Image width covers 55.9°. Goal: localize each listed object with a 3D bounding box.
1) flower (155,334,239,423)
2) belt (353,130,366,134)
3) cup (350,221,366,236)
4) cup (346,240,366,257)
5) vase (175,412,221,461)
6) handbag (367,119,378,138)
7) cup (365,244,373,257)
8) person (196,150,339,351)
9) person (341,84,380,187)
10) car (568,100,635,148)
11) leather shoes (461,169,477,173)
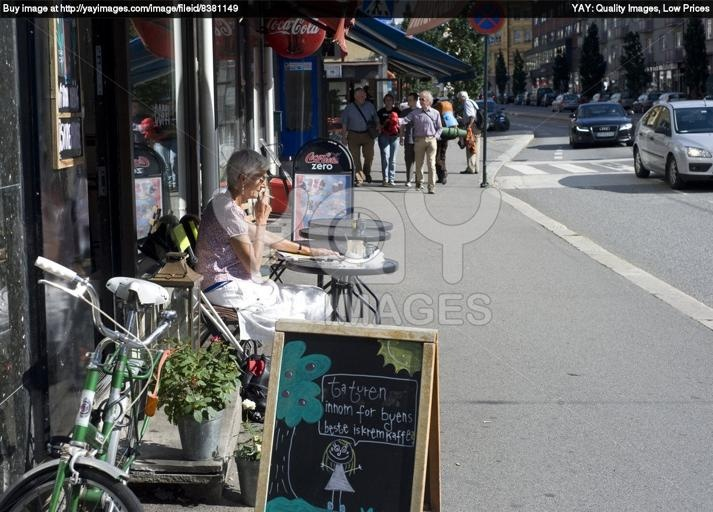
[{"bbox_3d":[-0.916,0.682,3.944,0.414,0.346,0.456,0,0,2],"label":"flower"},{"bbox_3d":[0.073,-2.774,15.006,0.234,0.081,0.032,2,14,-3],"label":"belt"},{"bbox_3d":[0.008,-0.215,5.182,0.102,0.113,0.104,4,-3,0],"label":"cup"},{"bbox_3d":[-0.013,-0.053,5.070,0.134,0.156,0.109,0,-4,5],"label":"cup"},{"bbox_3d":[-0.911,1.030,3.905,0.235,0.241,0.264,-2,-6,6],"label":"vase"},{"bbox_3d":[0.369,-2.828,14.980,0.247,0.377,0.157,-7,16,-31],"label":"handbag"},{"bbox_3d":[0.100,-0.044,5.206,0.070,0.084,0.075,0,-3,0],"label":"cup"},{"bbox_3d":[-0.683,-0.242,5.865,1.330,2.543,0.920,-1,11,-13],"label":"person"},{"bbox_3d":[0.072,-2.683,15.111,0.813,2.136,1.457,3,14,2],"label":"person"},{"bbox_3d":[7.838,-4.235,21.653,1.191,1.009,2.815,0,8,16],"label":"car"},{"bbox_3d":[2.729,-2.049,16.372,0.382,0.177,0.138,6,8,28],"label":"leather shoes"}]
